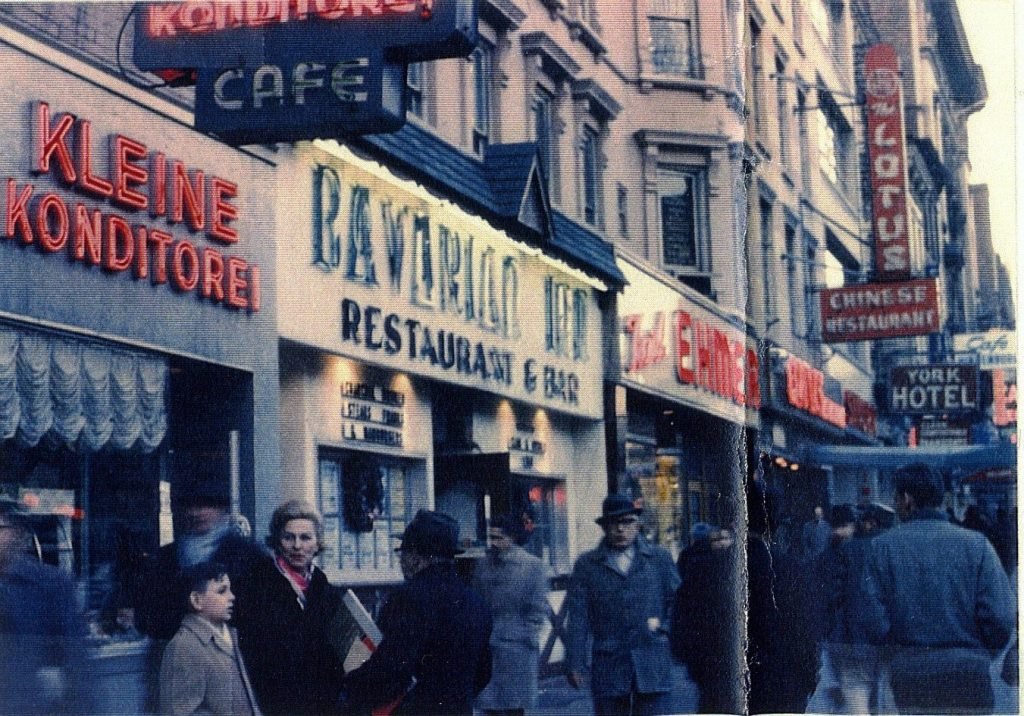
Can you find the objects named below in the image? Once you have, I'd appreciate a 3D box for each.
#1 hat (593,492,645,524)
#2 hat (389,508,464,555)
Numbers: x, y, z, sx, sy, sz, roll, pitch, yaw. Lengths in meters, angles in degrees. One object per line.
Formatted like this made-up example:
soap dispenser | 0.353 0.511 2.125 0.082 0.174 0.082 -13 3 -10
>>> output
hat | 0.690 0.981 10.992 0.206 0.089 0.188 -27 -17 24
hat | -0.507 1.093 10.442 0.330 0.195 0.236 11 3 -45
